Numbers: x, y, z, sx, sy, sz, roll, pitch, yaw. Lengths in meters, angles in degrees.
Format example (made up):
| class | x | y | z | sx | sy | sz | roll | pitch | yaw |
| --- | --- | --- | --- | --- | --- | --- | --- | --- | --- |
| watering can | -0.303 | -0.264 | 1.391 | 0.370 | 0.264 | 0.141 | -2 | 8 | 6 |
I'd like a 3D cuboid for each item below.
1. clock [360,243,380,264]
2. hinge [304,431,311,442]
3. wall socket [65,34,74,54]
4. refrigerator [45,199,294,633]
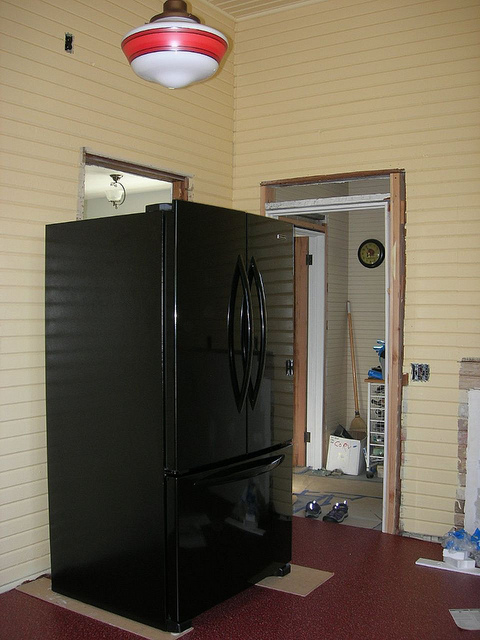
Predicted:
| class | x | y | z | sx | sy | sz | roll | pitch | yaw |
| --- | --- | --- | --- | --- | --- | --- | --- | --- | --- |
| clock | 1.485 | -0.758 | 6.035 | 0.240 | 0.247 | 0.058 | 3 | 1 | 44 |
| hinge | 0.677 | 1.178 | 5.337 | 0.059 | 0.094 | 0.025 | -1 | -5 | 17 |
| wall socket | -0.842 | -1.371 | 2.639 | 0.019 | 0.096 | 0.068 | -1 | -5 | 20 |
| refrigerator | -0.314 | 0.369 | 2.470 | 0.866 | 1.727 | 0.937 | -3 | -6 | 36 |
